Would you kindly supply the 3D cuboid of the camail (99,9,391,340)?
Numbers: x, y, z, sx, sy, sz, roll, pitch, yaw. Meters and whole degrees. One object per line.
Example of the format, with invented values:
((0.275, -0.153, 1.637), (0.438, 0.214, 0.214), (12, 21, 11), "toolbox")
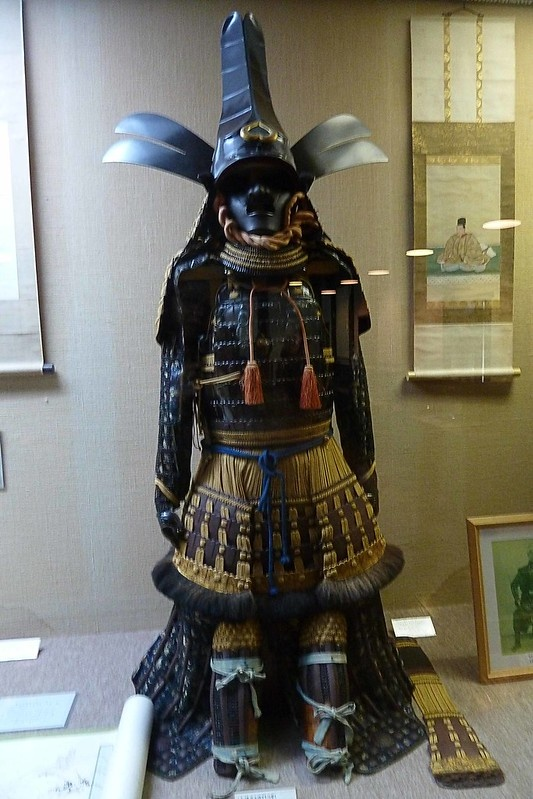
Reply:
((-0.054, -0.564, 1.329), (0.539, 0.633, 0.285), (-2, -4, -11), "camail")

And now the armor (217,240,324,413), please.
((0.018, -0.151, 1.232), (0.180, 0.404, 0.048), (5, -32, -19), "armor")

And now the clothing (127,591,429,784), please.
((0.022, 0.646, 1.391), (0.445, 0.514, 0.364), (-1, 18, -6), "clothing")

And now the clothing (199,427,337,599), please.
((0.001, 0.246, 1.286), (0.295, 0.433, 0.048), (0, -20, -4), "clothing")

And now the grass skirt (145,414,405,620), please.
((0.012, 0.256, 1.416), (0.487, 0.570, 0.377), (-3, 12, -4), "grass skirt")

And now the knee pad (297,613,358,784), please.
((0.113, 0.598, 1.296), (0.107, 0.298, 0.174), (-2, 8, 2), "knee pad")
